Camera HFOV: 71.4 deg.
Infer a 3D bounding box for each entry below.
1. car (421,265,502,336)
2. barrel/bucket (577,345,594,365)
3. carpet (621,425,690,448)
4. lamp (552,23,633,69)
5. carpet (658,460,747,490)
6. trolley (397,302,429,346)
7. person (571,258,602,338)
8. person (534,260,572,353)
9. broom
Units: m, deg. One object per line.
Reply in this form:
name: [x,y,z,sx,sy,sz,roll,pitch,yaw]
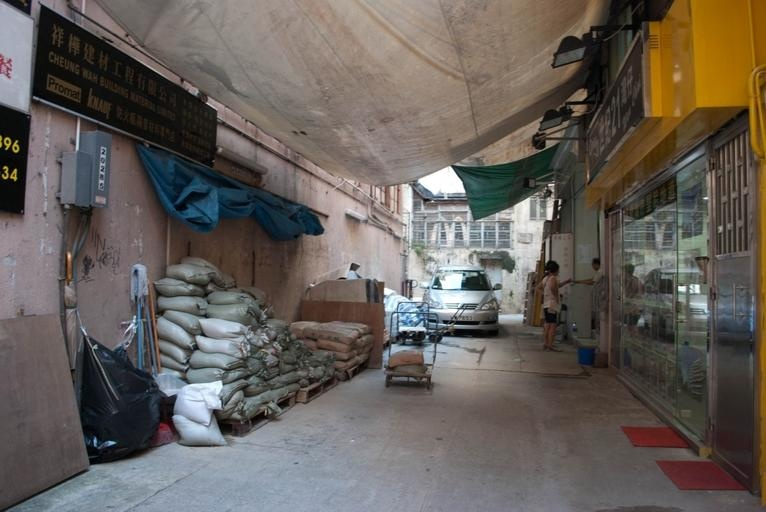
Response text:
car: [2.092,1.095,13.821,1.790,1.531,2.772,0,-3,9]
barrel/bucket: [3.709,1.825,9.830,0.293,0.283,0.294,0,-5,0]
carpet: [3.183,2.103,6.290,0.615,0.076,0.575,1,5,7]
lamp: [2.576,-2.691,6.569,1.076,0.381,0.556,-1,2,12]
carpet: [3.227,2.229,5.451,0.655,0.070,0.532,1,5,4]
trolley: [0.615,1.391,11.485,0.935,0.981,0.629,3,-9,2]
person: [4.518,0.874,11.752,0.506,1.784,1.177,2,6,17]
person: [3.521,1.012,11.166,0.619,1.936,0.708,0,-2,7]
broom: [-2.612,1.358,6.193,0.365,1.530,0.442,2,10,-1]
